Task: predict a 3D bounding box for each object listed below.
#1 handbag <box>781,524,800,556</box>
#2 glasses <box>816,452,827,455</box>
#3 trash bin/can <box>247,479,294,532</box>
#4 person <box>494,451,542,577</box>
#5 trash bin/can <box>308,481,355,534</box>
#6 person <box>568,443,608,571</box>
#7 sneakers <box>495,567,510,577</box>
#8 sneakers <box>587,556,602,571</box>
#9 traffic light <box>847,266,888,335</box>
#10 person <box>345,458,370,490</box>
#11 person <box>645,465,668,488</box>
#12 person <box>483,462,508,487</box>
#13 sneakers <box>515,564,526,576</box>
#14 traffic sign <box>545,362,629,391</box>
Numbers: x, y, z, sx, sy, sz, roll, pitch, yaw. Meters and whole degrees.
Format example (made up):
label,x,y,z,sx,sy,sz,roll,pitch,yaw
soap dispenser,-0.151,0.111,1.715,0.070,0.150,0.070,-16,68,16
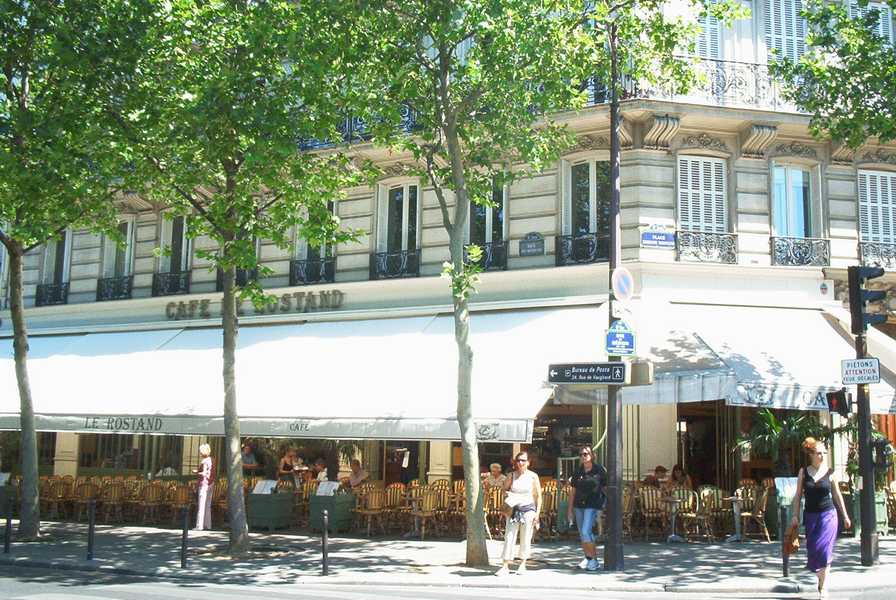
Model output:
label,x,y,z,sx,sy,sz,roll,pitch,yaw
handbag,6.049,4.212,17.158,0.222,0.526,0.453,-4,-7,8
glasses,6.602,2.695,17.171,0.124,0.052,0.164,-5,-3,25
trash bin/can,-4.743,5.246,25.008,1.166,1.595,1.262,-7,-11,40
person,1.377,4.230,19.470,0.801,2.324,1.140,-6,-8,23
trash bin/can,-2.875,5.148,24.244,1.110,1.271,0.905,1,-8,-28
person,2.868,4.208,19.839,0.733,2.399,0.878,-3,-7,3
sneakers,1.057,5.296,19.107,0.267,0.161,0.522,-3,-8,1
sneakers,2.945,5.301,19.532,0.155,0.174,0.403,-10,-21,28
traffic light,8.737,-0.029,20.284,0.668,1.466,0.868,-6,-8,22
person,-2.402,4.631,25.931,0.640,0.857,0.521,-10,-20,16
person,5.111,4.319,23.925,0.556,0.470,1.208,-4,-8,12
person,1.187,4.324,24.055,0.691,0.683,0.416,-9,-32,22
sneakers,1.435,5.286,19.252,0.205,0.187,0.561,-3,-8,5
traffic sign,2.824,1.483,19.482,1.585,0.526,0.280,-5,-7,12
